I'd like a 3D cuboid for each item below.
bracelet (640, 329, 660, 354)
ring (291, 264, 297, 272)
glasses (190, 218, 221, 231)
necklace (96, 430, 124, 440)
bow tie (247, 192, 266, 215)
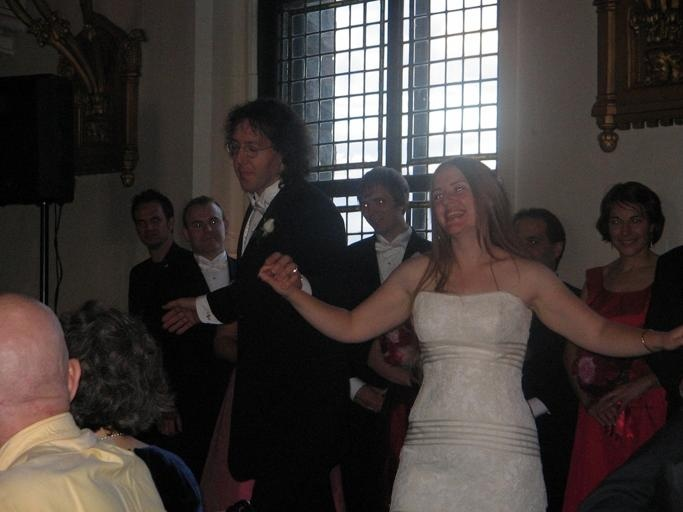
[{"bbox_3d":[1.111,0.312,2.415,0.032,0.071,0.078,-5,21,23],"label":"bracelet"},{"bbox_3d":[-0.186,0.049,2.731,0.022,0.033,0.011,-2,-2,-7],"label":"ring"},{"bbox_3d":[-0.950,-0.227,4.766,0.117,0.041,0.125,-6,-11,-16],"label":"glasses"},{"bbox_3d":[-0.667,0.515,1.945,0.051,0.025,0.039,15,6,-1],"label":"necklace"},{"bbox_3d":[-0.390,-0.251,3.112,0.063,0.112,0.059,-13,-5,2],"label":"bow tie"}]
